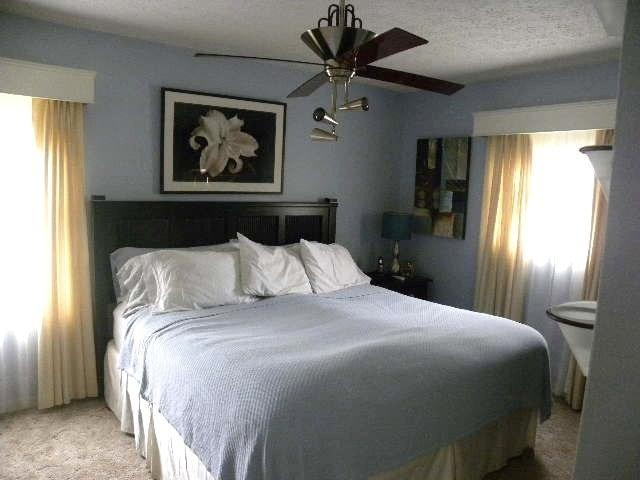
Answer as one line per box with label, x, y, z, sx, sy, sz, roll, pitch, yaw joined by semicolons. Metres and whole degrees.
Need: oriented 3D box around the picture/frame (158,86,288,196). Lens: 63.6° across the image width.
picture/frame;-0.888;-0.872;4.446;0.980;0.759;0.021;-3;11;-36
